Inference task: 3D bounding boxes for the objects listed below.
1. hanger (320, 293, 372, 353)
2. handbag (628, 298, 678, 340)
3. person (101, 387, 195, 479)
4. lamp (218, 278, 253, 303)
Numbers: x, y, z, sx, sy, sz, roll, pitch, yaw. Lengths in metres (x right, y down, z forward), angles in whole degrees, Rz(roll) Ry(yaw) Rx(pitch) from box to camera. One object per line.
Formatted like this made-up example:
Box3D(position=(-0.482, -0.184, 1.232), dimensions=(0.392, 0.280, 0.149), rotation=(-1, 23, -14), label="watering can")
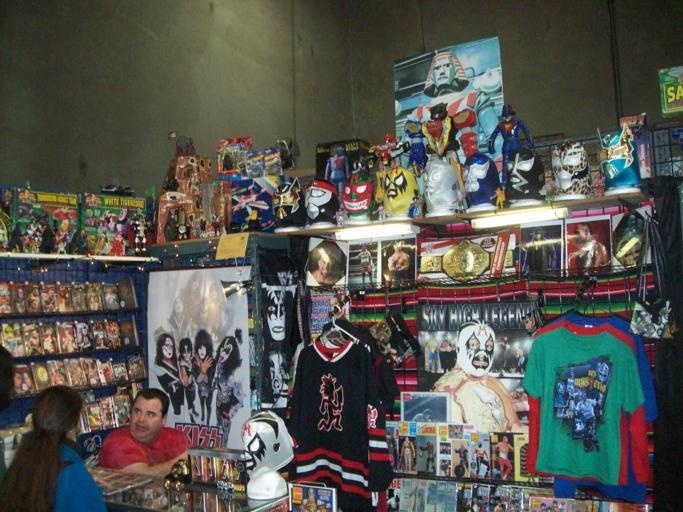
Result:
Box3D(position=(0.031, 0.492, 6.371), dimensions=(0.331, 0.472, 0.550), rotation=(0, -5, -8), label="hanger")
Box3D(position=(2.108, 0.435, 5.683), dimensions=(0.234, 0.263, 0.094), rotation=(5, 6, 23), label="handbag")
Box3D(position=(-1.484, 1.461, 6.592), dimensions=(0.692, 0.990, 0.617), rotation=(3, -29, -12), label="person")
Box3D(position=(-0.848, 0.285, 6.682), dimensions=(0.192, 0.180, 0.147), rotation=(0, 1, 23), label="lamp")
